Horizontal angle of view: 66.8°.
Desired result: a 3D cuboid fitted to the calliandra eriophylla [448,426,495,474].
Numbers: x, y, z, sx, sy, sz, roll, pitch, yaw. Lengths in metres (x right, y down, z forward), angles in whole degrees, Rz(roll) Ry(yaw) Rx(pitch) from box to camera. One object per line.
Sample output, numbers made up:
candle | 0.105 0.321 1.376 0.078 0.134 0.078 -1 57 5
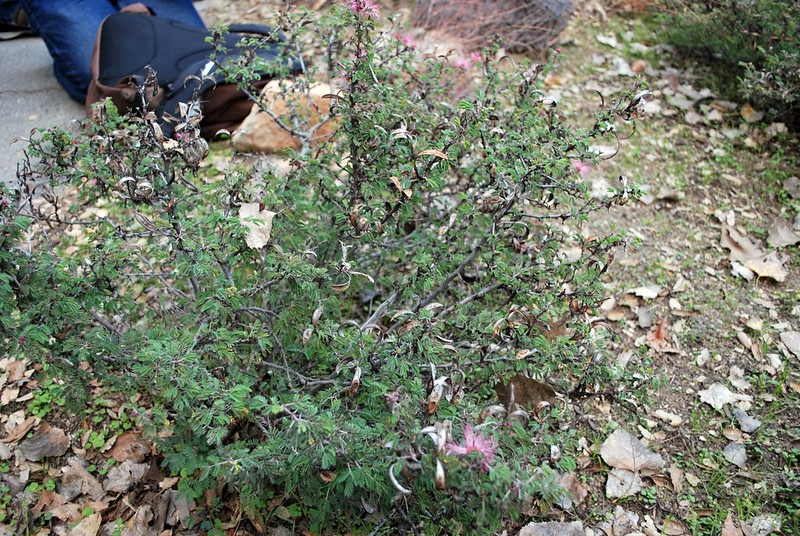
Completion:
calliandra eriophylla | 0.414 1.000 3.372 0.277 0.101 0.198 28 46 -3

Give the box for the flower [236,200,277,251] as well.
flower | -0.913 -0.264 3.827 0.187 0.309 0.062 7 10 17
